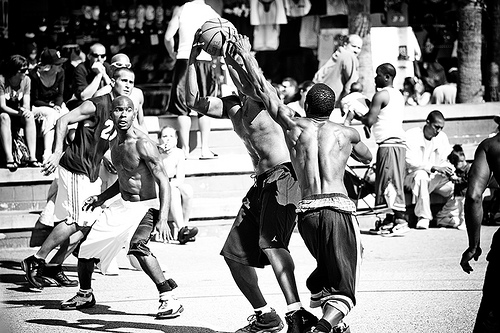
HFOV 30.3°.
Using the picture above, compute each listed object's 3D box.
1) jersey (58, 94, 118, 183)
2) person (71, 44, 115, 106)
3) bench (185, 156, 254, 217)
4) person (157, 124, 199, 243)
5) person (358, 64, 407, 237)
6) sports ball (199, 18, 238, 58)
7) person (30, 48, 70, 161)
[{"bbox_3d":[-2.367,-0.415,14.271,0.561,1.298,0.735,13,-12,45],"label":"jersey"},{"bbox_3d":[-2.920,-1.603,16.466,0.735,1.800,1.280,1,-2,-1],"label":"person"},{"bbox_3d":[-0.511,0.770,16.799,1.873,1.166,0.954,-2,5,-15],"label":"bench"},{"bbox_3d":[-1.316,0.288,15.792,0.769,1.896,0.796,-1,1,0],"label":"person"},{"bbox_3d":[2.514,-0.275,16.578,0.966,2.839,1.133,2,1,4],"label":"person"},{"bbox_3d":[-0.454,-1.724,12.873,0.527,0.543,0.518,1,-21,0],"label":"sports ball"},{"bbox_3d":[-3.976,-1.400,17.245,0.968,2.542,1.030,1,-3,-7],"label":"person"}]
